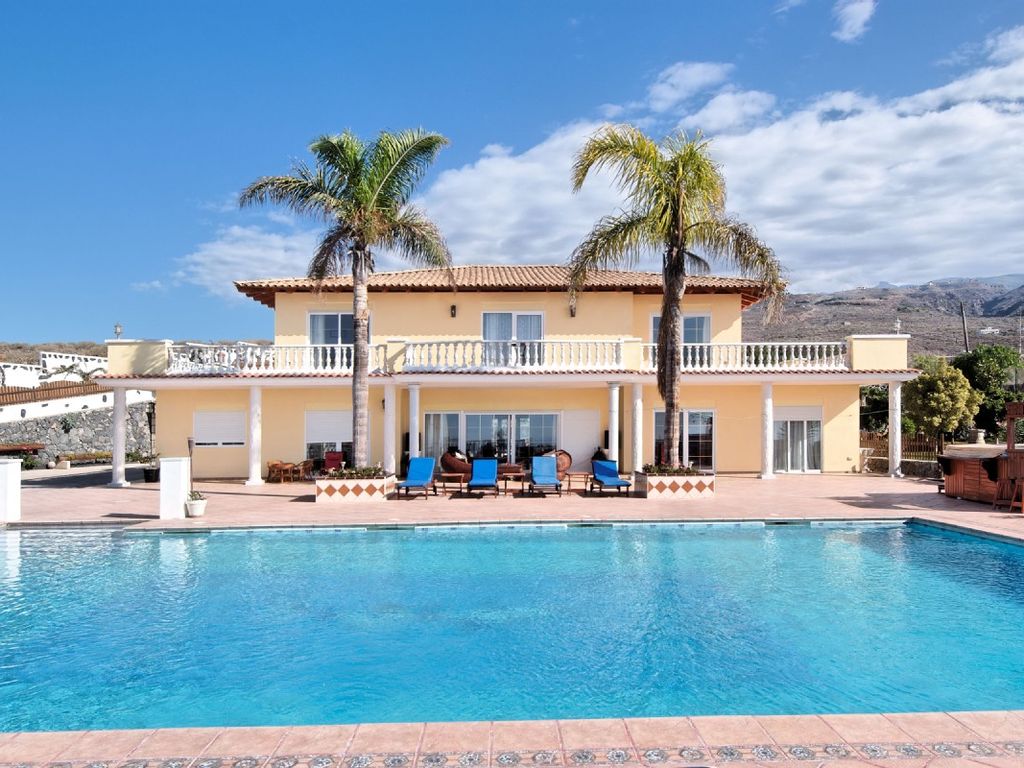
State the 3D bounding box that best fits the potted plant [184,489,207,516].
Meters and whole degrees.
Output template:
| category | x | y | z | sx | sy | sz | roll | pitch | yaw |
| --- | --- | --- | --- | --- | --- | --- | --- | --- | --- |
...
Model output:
| category | x | y | z | sx | sy | sz | roll | pitch | yaw |
| --- | --- | --- | --- | --- | --- | --- | --- | --- | --- |
| potted plant | -7.967 | 3.032 | 22.276 | 0.510 | 0.536 | 0.542 | 0 | -6 | 0 |
